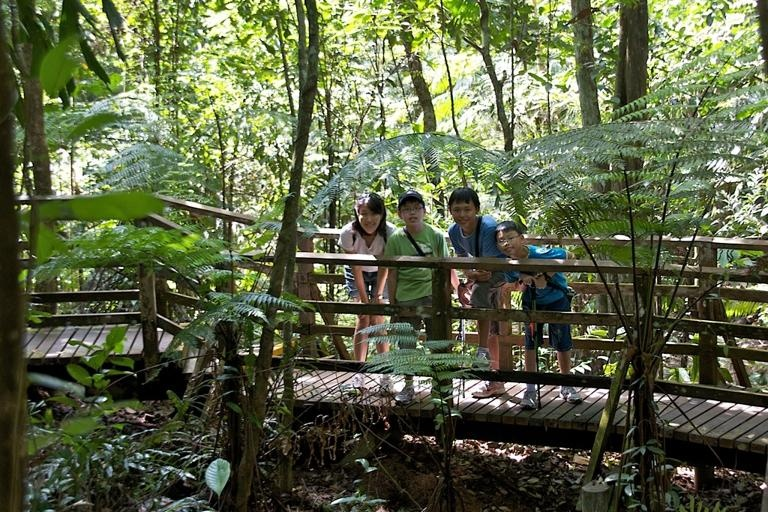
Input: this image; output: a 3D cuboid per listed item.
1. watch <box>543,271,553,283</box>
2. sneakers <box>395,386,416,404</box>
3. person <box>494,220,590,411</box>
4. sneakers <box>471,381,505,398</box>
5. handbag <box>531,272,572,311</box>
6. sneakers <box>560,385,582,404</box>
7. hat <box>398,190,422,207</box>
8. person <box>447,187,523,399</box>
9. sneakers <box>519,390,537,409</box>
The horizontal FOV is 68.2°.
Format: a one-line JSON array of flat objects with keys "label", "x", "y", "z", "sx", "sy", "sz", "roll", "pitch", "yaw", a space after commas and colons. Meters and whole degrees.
[{"label": "watch", "x": 1.234, "y": 0.158, "z": 4.241, "sx": 0.069, "sy": 0.089, "sz": 0.054, "roll": -10, "pitch": 3, "yaw": -28}, {"label": "sneakers", "x": 0.157, "y": 1.005, "z": 4.080, "sx": 0.085, "sy": 0.087, "sz": 0.200, "roll": 2, "pitch": -9, "yaw": 19}, {"label": "person", "x": 1.143, "y": 0.420, "z": 4.195, "sx": 0.574, "sy": 1.374, "sz": 0.724, "roll": -2, "pitch": -8, "yaw": 19}, {"label": "sneakers", "x": 0.793, "y": 1.021, "z": 4.330, "sx": 0.284, "sy": 0.113, "sz": 0.103, "roll": -2, "pitch": -7, "yaw": 5}, {"label": "handbag", "x": 1.251, "y": 0.270, "z": 4.274, "sx": 0.249, "sy": 0.139, "sz": 0.190, "roll": 31, "pitch": -51, "yaw": -24}, {"label": "sneakers", "x": 1.388, "y": 1.028, "z": 4.194, "sx": 0.083, "sy": 0.089, "sz": 0.215, "roll": 0, "pitch": -5, "yaw": -13}, {"label": "hat", "x": 0.208, "y": -0.453, "z": 4.420, "sx": 0.178, "sy": 0.169, "sz": 0.198, "roll": 0, "pitch": -7, "yaw": -1}, {"label": "person", "x": 0.744, "y": 0.211, "z": 4.499, "sx": 0.457, "sy": 1.496, "sz": 0.666, "roll": -3, "pitch": 3, "yaw": 24}, {"label": "sneakers", "x": 1.043, "y": 1.030, "z": 4.068, "sx": 0.125, "sy": 0.132, "sz": 0.154, "roll": -1, "pitch": -8, "yaw": 12}]
